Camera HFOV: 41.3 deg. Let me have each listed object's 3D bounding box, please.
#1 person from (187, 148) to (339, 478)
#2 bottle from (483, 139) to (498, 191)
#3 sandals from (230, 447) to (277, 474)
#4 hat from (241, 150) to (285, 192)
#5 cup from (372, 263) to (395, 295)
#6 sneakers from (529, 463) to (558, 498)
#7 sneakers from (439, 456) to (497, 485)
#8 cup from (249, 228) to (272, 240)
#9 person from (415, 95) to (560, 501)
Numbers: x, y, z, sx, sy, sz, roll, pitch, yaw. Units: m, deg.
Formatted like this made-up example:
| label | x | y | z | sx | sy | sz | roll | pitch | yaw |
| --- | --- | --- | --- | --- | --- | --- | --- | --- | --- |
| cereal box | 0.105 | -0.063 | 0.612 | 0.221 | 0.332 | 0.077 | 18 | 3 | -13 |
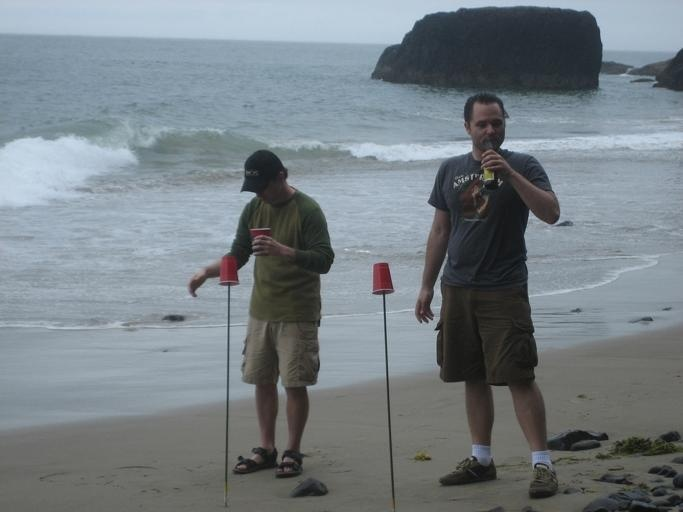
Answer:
| label | x | y | z | sx | sy | sz | roll | pitch | yaw |
| --- | --- | --- | --- | --- | --- | --- | --- | --- | --- |
| person | -0.749 | 0.513 | 8.384 | 1.234 | 2.877 | 1.072 | 4 | 15 | 9 |
| bottle | 1.280 | -0.770 | 7.815 | 0.143 | 0.409 | 0.292 | 4 | 15 | 8 |
| sandals | -0.830 | 1.899 | 8.450 | 0.444 | 0.160 | 0.183 | 0 | -3 | -22 |
| hat | -0.739 | -0.759 | 8.369 | 0.334 | 0.251 | 0.450 | 12 | 43 | 31 |
| cup | 0.330 | 0.216 | 7.914 | 0.257 | 0.267 | 0.266 | -1 | -10 | 0 |
| sneakers | 1.702 | 1.871 | 7.586 | 0.234 | 0.239 | 0.266 | 5 | 15 | 14 |
| sneakers | 1.129 | 1.896 | 8.023 | 0.644 | 0.234 | 0.200 | -1 | -4 | -3 |
| cup | -0.760 | -0.188 | 8.146 | 0.127 | 0.082 | 0.120 | -1 | 3 | 0 |
| person | 1.317 | 0.329 | 7.889 | 0.934 | 3.364 | 1.565 | -6 | 17 | -25 |
